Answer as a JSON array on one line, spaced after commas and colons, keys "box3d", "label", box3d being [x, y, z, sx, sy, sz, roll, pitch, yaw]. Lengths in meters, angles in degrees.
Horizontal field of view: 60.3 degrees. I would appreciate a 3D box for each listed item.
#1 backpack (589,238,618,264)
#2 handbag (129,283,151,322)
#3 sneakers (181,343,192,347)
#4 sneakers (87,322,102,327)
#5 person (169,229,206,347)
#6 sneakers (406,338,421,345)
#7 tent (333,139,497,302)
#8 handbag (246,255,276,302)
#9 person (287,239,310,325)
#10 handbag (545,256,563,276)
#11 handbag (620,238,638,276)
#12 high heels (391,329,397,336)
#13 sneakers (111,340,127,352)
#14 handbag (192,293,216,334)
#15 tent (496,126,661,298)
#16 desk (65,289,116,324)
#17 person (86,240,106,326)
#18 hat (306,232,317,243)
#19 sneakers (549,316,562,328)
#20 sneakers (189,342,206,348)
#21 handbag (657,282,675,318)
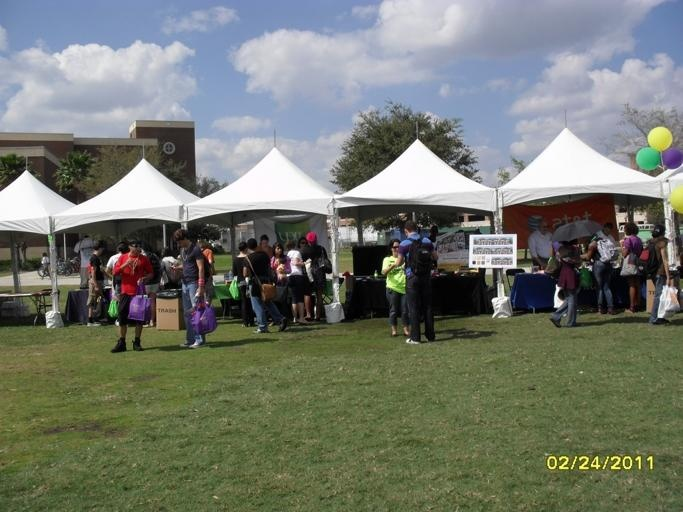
[{"box3d": [5.426, -0.101, 12.056, 0.504, 0.489, 0.267, -3, 6, -5], "label": "backpack"}, {"box3d": [-3.455, 0.844, 10.050, 0.379, 0.688, 0.345, -5, 6, -21], "label": "handbag"}, {"box3d": [-2.794, 1.600, 10.607, 0.194, 0.094, 0.083, 3, -6, 4], "label": "sneakers"}, {"box3d": [-5.843, 1.616, 13.907, 0.311, 0.151, 0.130, -1, -3, 2], "label": "sneakers"}, {"box3d": [-2.708, 0.568, 10.362, 0.663, 2.087, 0.613, 0, 4, 44], "label": "person"}, {"box3d": [1.217, 1.461, 10.124, 0.088, 0.104, 0.219, 2, 0, -41], "label": "sneakers"}, {"box3d": [2.089, -1.028, 14.910, 3.629, 2.423, 3.842, 0, 3, 14], "label": "tent"}, {"box3d": [-1.580, 0.424, 11.523, 0.313, 0.881, 0.534, -24, -7, 28], "label": "handbag"}, {"box3d": [-0.933, 0.598, 12.503, 0.398, 1.796, 0.664, -3, 6, -5], "label": "person"}, {"box3d": [3.864, 0.198, 10.659, 0.153, 0.331, 0.199, 8, 9, -40], "label": "handbag"}, {"box3d": [5.861, 0.004, 11.972, 0.329, 0.805, 0.228, 0, 6, 20], "label": "handbag"}, {"box3d": [0.975, 1.437, 11.040, 0.069, 0.154, 0.152, 1, -17, 1], "label": "high heels"}, {"box3d": [-3.868, 1.582, 10.386, 0.304, 0.230, 0.131, 3, -3, -9], "label": "sneakers"}, {"box3d": [-2.460, 1.066, 10.438, 0.502, 0.712, 0.342, -11, 23, -32], "label": "handbag"}, {"box3d": [5.604, -0.450, 14.255, 4.024, 3.034, 4.284, 0, 5, 17], "label": "tent"}, {"box3d": [-6.312, 1.332, 14.624, 0.856, 0.574, 0.918, -2, -7, 11], "label": "desk"}, {"box3d": [-5.670, 0.646, 13.555, 0.444, 1.999, 1.528, -5, 6, -25], "label": "person"}, {"box3d": [-0.625, -0.372, 12.662, 0.200, 0.126, 0.323, 5, 10, 17], "label": "hat"}, {"box3d": [4.016, 1.232, 11.068, 0.094, 0.218, 0.074, -44, -3, -8], "label": "sneakers"}, {"box3d": [-2.577, 1.586, 10.530, 0.240, 0.102, 0.081, 7, -10, -35], "label": "sneakers"}, {"box3d": [5.844, 0.834, 10.553, 0.323, 0.629, 0.286, 1, 7, 29], "label": "handbag"}]
